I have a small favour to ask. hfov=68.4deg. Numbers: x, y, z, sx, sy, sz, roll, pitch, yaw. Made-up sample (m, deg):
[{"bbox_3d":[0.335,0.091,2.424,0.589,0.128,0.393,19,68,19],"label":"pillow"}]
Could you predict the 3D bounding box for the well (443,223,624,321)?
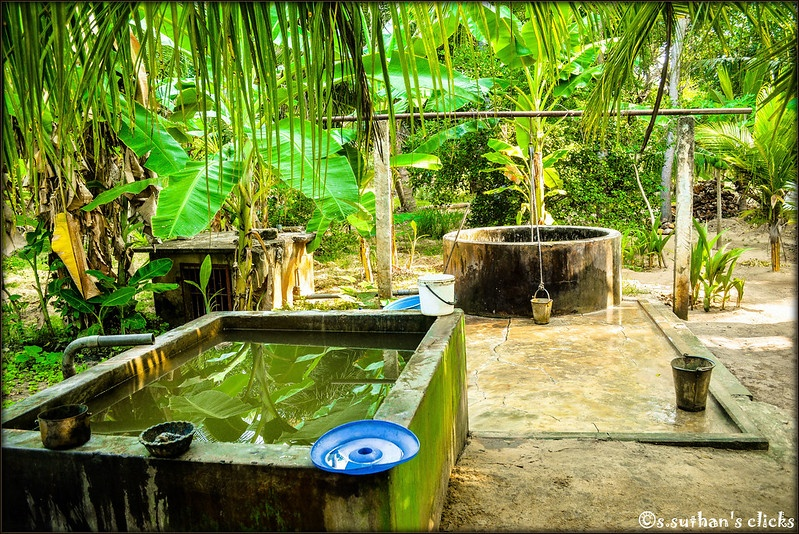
[{"bbox_3d":[2.049,-0.015,9.432,2.629,1.212,2.236,-4,7,-5],"label":"well"}]
